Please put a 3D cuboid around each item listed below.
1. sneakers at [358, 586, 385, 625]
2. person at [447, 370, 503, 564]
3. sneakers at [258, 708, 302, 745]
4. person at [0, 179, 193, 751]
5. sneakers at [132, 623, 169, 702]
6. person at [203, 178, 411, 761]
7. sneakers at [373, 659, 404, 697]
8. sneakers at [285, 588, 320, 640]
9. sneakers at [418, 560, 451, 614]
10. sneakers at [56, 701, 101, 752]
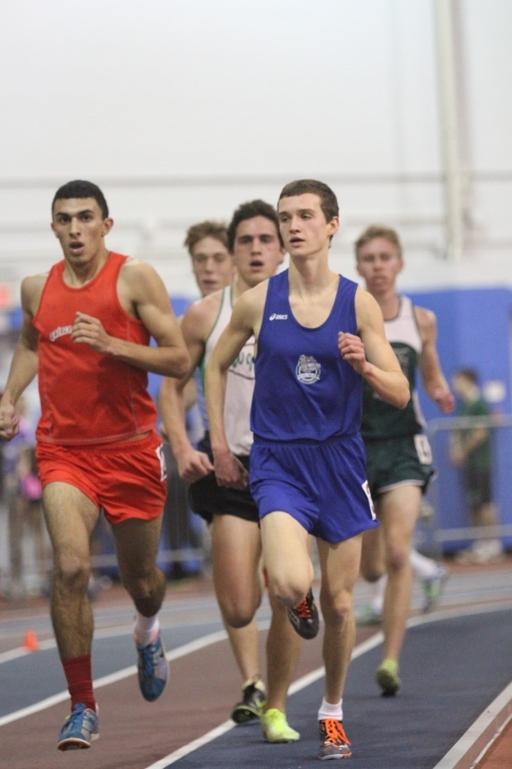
[{"bbox_3d":[0.691,1.325,6.067,0.137,0.178,0.433,-13,-15,3],"label":"sneakers"},{"bbox_3d":[1.666,0.560,7.927,0.342,1.391,0.456,-4,-5,12],"label":"person"},{"bbox_3d":[0.081,1.197,3.566,0.075,0.081,0.185,-2,-9,-21],"label":"sneakers"},{"bbox_3d":[-0.549,0.186,3.438,0.563,1.797,1.018,-4,-5,12],"label":"person"},{"bbox_3d":[-0.407,1.133,4.188,0.114,0.312,0.129,-9,-6,11],"label":"sneakers"},{"bbox_3d":[0.186,0.264,3.293,0.594,1.895,0.688,-2,-5,-9],"label":"person"},{"bbox_3d":[0.568,1.285,4.457,0.071,0.186,0.086,2,35,15],"label":"sneakers"},{"bbox_3d":[0.159,0.697,3.121,0.072,0.193,0.077,-24,36,-12],"label":"sneakers"},{"bbox_3d":[1.008,1.193,5.880,0.189,0.256,0.271,0,-2,-2],"label":"sneakers"},{"bbox_3d":[-0.512,0.994,2.937,0.070,0.084,0.189,-3,-11,6],"label":"sneakers"}]
